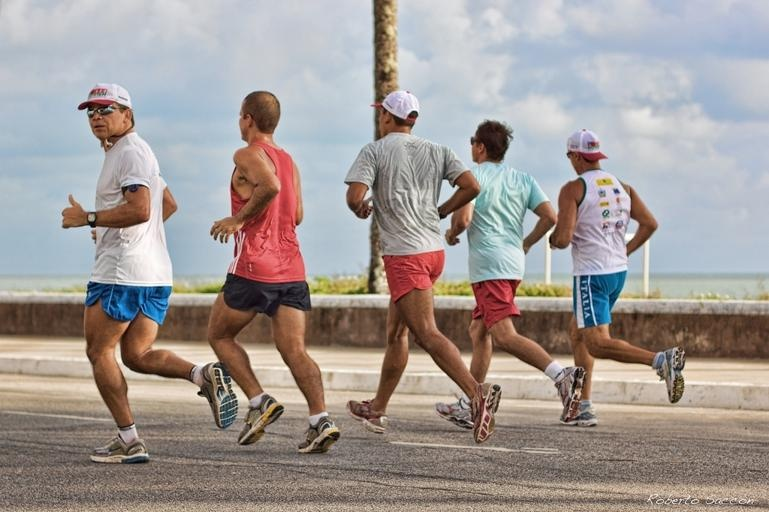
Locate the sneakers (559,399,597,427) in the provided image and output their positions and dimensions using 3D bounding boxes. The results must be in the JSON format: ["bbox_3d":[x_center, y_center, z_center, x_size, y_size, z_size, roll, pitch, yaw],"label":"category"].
[{"bbox_3d":[2.155,1.763,15.637,0.226,0.273,0.588,1,2,-8],"label":"sneakers"}]

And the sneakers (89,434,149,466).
[{"bbox_3d":[-2.640,1.969,14.266,0.604,0.296,0.245,2,-10,1],"label":"sneakers"}]

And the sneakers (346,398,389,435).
[{"bbox_3d":[-0.187,1.745,15.428,0.565,0.274,0.208,35,0,22],"label":"sneakers"}]

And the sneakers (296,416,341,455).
[{"bbox_3d":[-0.673,1.855,14.437,0.235,0.284,0.576,-26,-12,-48],"label":"sneakers"}]
